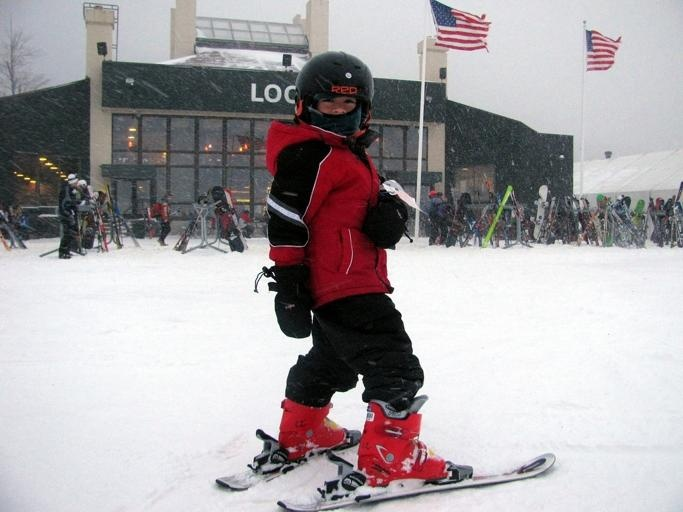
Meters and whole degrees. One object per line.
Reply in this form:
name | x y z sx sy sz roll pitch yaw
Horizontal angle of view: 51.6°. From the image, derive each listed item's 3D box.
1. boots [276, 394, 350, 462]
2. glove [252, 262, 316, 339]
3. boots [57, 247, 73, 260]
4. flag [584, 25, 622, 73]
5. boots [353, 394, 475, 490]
boots | -0.206 1.032 4.397 0.535 0.492 0.194 -7 8 -29
glove | -0.311 0.248 4.082 0.290 0.420 0.190 1 3 -7
boots | -4.468 -0.034 11.461 0.205 0.222 0.153 2 5 16
flag | 6.885 -5.524 18.825 0.724 1.308 1.401 2 3 20
boots | 0.442 1.071 4.187 0.711 0.566 0.314 7 5 -21
